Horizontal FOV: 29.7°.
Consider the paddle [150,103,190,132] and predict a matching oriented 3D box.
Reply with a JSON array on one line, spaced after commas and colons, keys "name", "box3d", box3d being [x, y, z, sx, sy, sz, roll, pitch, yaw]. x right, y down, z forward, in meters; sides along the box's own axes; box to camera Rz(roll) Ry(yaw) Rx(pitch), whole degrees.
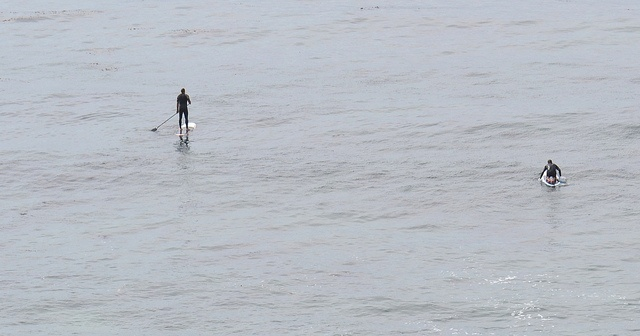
[{"name": "paddle", "box3d": [-11.712, -3.902, 96.625, 5.464, 0.496, 0.519, -24, 56, -15]}]
